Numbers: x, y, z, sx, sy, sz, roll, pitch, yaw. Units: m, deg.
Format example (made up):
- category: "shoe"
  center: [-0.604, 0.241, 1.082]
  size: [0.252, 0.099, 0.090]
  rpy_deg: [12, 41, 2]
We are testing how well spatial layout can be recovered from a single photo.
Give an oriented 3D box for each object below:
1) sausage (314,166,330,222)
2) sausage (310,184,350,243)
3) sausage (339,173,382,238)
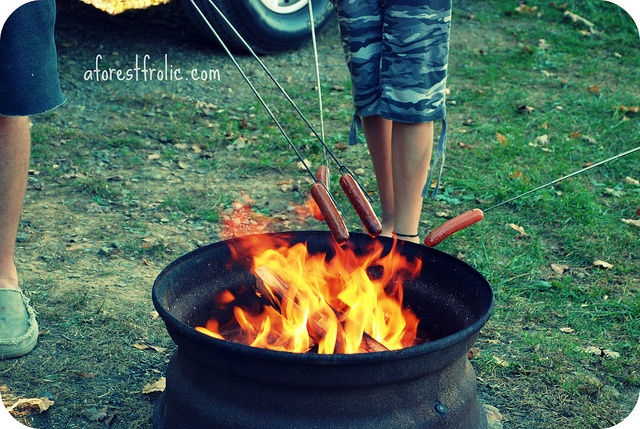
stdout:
- category: "sausage"
  center: [0.001, -0.119, 3.718]
  size: [0.074, 0.080, 0.281]
  rpy_deg: [-5, 63, -5]
- category: "sausage"
  center: [0.055, -0.002, 3.578]
  size: [0.113, 0.112, 0.417]
  rpy_deg: [-13, 69, -28]
- category: "sausage"
  center: [0.209, -0.071, 3.697]
  size: [0.106, 0.107, 0.419]
  rpy_deg: [-18, 68, -35]
